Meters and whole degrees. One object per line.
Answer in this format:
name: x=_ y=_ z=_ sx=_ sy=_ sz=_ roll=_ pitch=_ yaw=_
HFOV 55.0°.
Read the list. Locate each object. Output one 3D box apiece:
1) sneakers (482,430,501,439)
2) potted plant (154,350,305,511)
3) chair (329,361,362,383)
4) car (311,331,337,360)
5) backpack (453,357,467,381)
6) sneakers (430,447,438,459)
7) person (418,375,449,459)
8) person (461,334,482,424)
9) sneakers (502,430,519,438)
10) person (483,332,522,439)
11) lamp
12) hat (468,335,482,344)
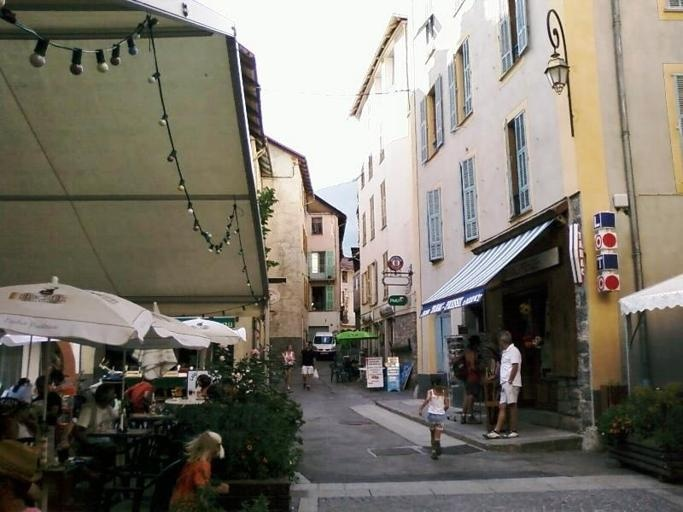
sneakers: x=2.915 y=3.462 z=12.726 sx=0.273 sy=0.142 sz=0.135 roll=1 pitch=-11 yaw=14
potted plant: x=-1.344 y=2.371 z=8.894 sx=1.454 sy=1.571 sz=2.069 roll=2 pitch=1 yaw=5
chair: x=0.226 y=5.562 z=31.395 sx=1.310 sy=0.704 sz=1.465 roll=0 pitch=-4 yaw=-3
car: x=-1.310 y=6.700 z=49.178 sx=1.827 sy=2.038 sz=3.771 roll=-1 pitch=-9 yaw=1
backpack: x=2.672 y=2.541 z=14.895 sx=0.268 sy=0.540 sz=0.225 roll=-1 pitch=-13 yaw=9
sneakers: x=1.684 y=3.566 z=11.862 sx=0.133 sy=0.211 sz=0.280 roll=-2 pitch=-14 yaw=13
person: x=1.726 y=3.008 z=12.136 sx=0.457 sy=1.426 sz=0.880 roll=-1 pitch=-13 yaw=9
person: x=2.965 y=2.789 z=15.069 sx=0.432 sy=2.005 sz=0.872 roll=-1 pitch=-13 yaw=11
sneakers: x=3.264 y=3.450 z=12.728 sx=0.322 sy=0.155 sz=0.126 roll=2 pitch=-8 yaw=-3
person: x=3.180 y=2.513 z=12.801 sx=0.616 sy=2.035 sz=0.640 roll=5 pitch=-13 yaw=-15
lamp: x=4.204 y=-3.766 z=12.736 sx=0.476 sy=2.790 sz=1.221 roll=-3 pitch=-14 yaw=20
hat: x=3.142 y=1.968 z=15.505 sx=0.209 sy=0.165 sz=0.212 roll=0 pitch=0 yaw=11
